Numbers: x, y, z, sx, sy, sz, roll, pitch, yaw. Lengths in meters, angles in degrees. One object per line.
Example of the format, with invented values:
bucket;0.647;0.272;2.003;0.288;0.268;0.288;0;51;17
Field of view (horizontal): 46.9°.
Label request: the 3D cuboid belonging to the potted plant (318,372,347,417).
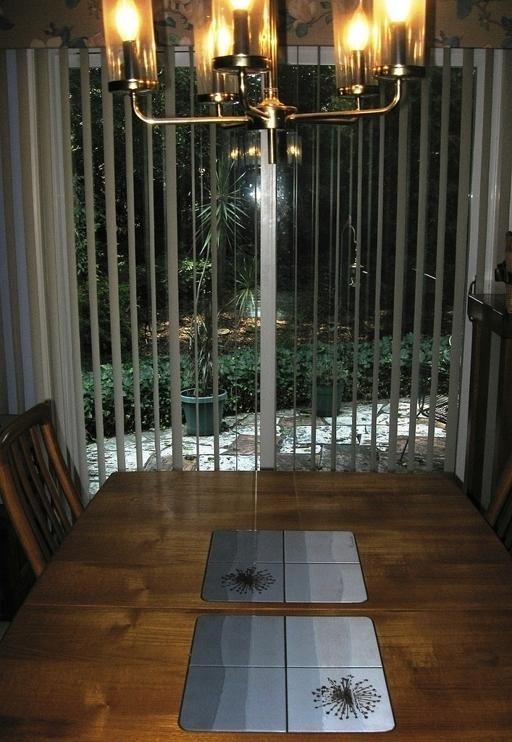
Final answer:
potted plant;0.312;0.105;2.608;0.168;0.171;0.166;0;7;4
